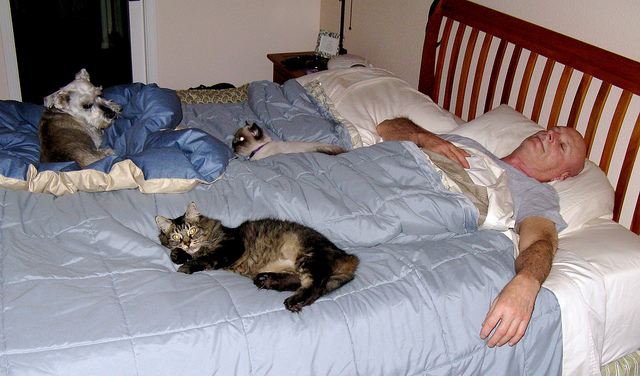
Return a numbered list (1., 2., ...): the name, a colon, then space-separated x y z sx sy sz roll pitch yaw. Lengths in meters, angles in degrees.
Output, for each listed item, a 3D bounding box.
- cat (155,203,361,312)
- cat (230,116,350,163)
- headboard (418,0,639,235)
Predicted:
1. cat: -0.342 0.383 3.008 0.989 0.353 0.653 6 11 -10
2. cat: -0.278 -0.303 3.992 0.803 0.350 0.285 2 1 -22
3. headboard: 1.568 -0.487 3.696 0.202 1.325 1.695 -27 55 -22
